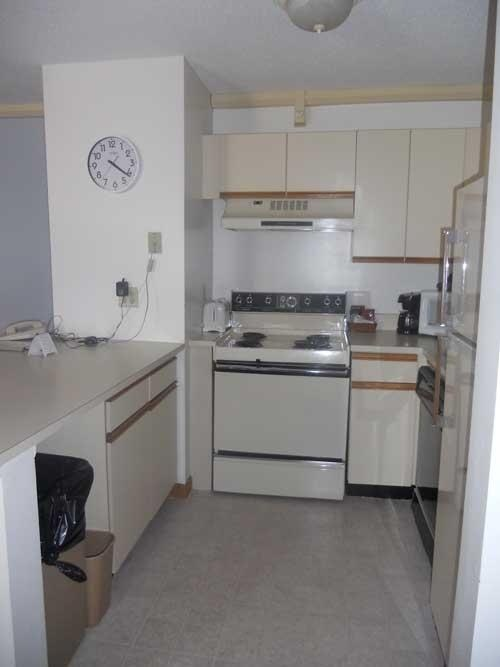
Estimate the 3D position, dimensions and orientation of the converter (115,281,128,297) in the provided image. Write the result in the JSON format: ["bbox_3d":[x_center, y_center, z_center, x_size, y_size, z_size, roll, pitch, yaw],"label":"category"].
[{"bbox_3d":[-0.620,-0.219,2.510,0.051,0.096,0.033,5,14,15],"label":"converter"}]

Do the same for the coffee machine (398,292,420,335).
[{"bbox_3d":[0.884,-0.116,2.892,0.096,0.235,0.253,-1,8,-9],"label":"coffee machine"}]

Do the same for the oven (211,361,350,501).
[{"bbox_3d":[0.167,0.381,2.761,0.684,0.814,0.508,2,19,6],"label":"oven"}]

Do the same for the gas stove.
[{"bbox_3d":[0.187,0.008,2.812,0.681,0.173,0.675,2,9,9],"label":"gas stove"}]

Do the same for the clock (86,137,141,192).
[{"bbox_3d":[-0.636,-0.805,2.446,0.188,0.226,0.042,-6,8,17],"label":"clock"}]

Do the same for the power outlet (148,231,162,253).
[{"bbox_3d":[-0.457,-0.445,2.488,0.076,0.136,0.013,3,17,9],"label":"power outlet"}]
